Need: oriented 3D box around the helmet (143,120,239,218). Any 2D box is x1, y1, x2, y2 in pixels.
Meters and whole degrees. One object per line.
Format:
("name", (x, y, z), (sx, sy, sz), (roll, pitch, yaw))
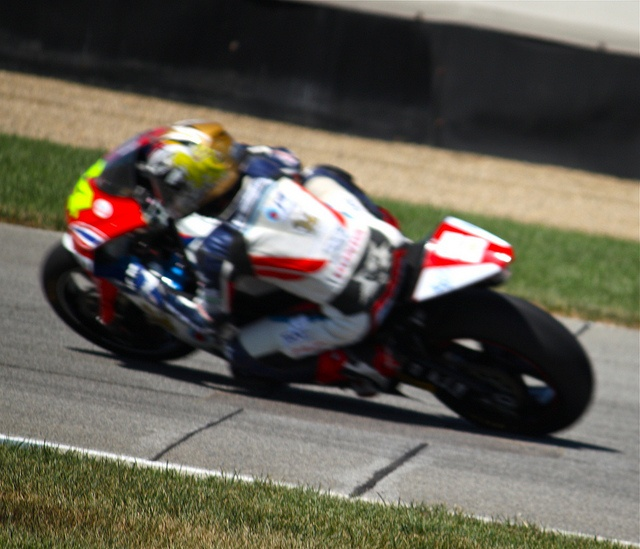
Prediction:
("helmet", (-0.808, -0.675, 7.353), (0.479, 0.662, 0.589), (-25, 59, -18))
